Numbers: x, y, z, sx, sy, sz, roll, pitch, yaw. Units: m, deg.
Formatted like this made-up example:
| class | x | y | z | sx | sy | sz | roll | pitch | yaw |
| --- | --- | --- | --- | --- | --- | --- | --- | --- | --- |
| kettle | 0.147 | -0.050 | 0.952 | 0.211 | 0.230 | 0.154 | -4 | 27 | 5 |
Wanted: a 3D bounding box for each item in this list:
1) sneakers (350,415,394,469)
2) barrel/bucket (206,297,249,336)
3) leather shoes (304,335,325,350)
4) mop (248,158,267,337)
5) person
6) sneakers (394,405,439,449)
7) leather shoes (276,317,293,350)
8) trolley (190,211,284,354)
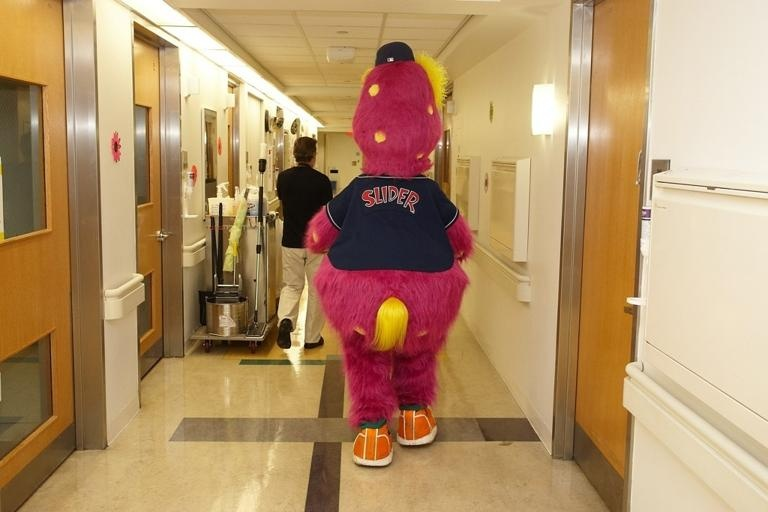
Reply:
| class | x | y | z | sx | sy | sz | roll | pitch | yaw |
| --- | --- | --- | --- | --- | --- | --- | --- | --- | --- |
| sneakers | -0.067 | 1.172 | 3.467 | 0.278 | 0.264 | 0.242 | 8 | 9 | -3 |
| barrel/bucket | -1.455 | 0.572 | 5.079 | 0.358 | 0.279 | 0.341 | 0 | 3 | 0 |
| leather shoes | -0.667 | 0.854 | 5.296 | 0.076 | 0.099 | 0.232 | 3 | 6 | 21 |
| mop | -1.144 | -0.013 | 5.228 | 0.205 | 1.609 | 0.249 | -2 | 18 | -12 |
| person | -0.778 | -0.123 | 5.239 | 0.606 | 1.858 | 0.843 | 1 | 2 | 2 |
| sneakers | 0.219 | 1.140 | 3.672 | 0.274 | 0.248 | 0.257 | 11 | 10 | -6 |
| leather shoes | -0.910 | 0.729 | 5.042 | 0.131 | 0.294 | 0.121 | 1 | -19 | 5 |
| trolley | -1.452 | 0.231 | 5.282 | 0.738 | 1.280 | 0.774 | 1 | 14 | -6 |
